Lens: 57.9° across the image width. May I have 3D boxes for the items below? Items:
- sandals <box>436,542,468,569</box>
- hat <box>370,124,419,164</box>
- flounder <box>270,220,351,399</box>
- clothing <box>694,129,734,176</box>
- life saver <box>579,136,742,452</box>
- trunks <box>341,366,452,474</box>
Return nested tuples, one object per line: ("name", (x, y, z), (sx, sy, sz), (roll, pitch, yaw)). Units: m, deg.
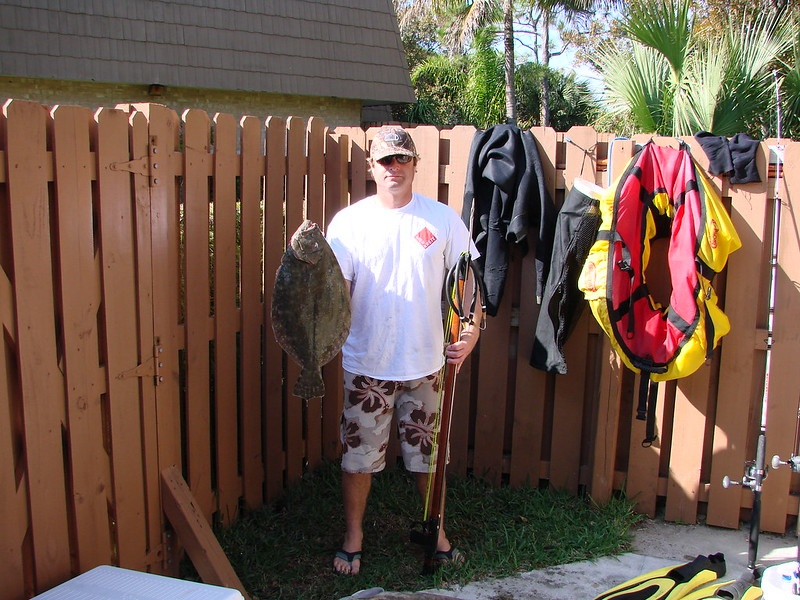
("sandals", (0.340, 1.704, 4.798), (0.162, 0.086, 0.098), (2, 17, -1))
("hat", (-0.045, -0.992, 4.595), (0.195, 0.166, 0.291), (-1, 6, 2))
("flounder", (-0.517, 0.055, 4.225), (0.446, 1.045, 0.278), (-1, 9, -6))
("clothing", (2.288, -1.046, 5.210), (0.210, 0.297, 0.095), (2, -3, 36))
("life saver", (1.758, -0.170, 4.952), (1.008, 1.741, 0.429), (-1, -3, 11))
("trunks", (-0.022, 0.755, 4.687), (0.687, 1.064, 0.342), (2, 0, -11))
